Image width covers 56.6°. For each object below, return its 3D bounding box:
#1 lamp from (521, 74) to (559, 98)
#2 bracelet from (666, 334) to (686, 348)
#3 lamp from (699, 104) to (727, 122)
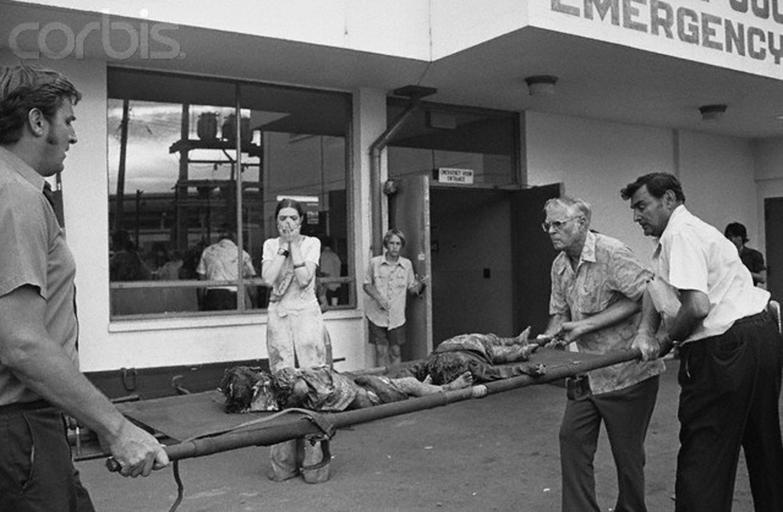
[{"bbox_3d":[2.144,-2.434,10.372,0.513,0.210,0.518,0,2,4],"label":"lamp"},{"bbox_3d":[2.066,0.610,5.278,0.076,0.082,0.074,-21,49,-10],"label":"bracelet"},{"bbox_3d":[5.351,-2.406,12.087,0.459,0.189,0.432,1,3,24],"label":"lamp"}]
